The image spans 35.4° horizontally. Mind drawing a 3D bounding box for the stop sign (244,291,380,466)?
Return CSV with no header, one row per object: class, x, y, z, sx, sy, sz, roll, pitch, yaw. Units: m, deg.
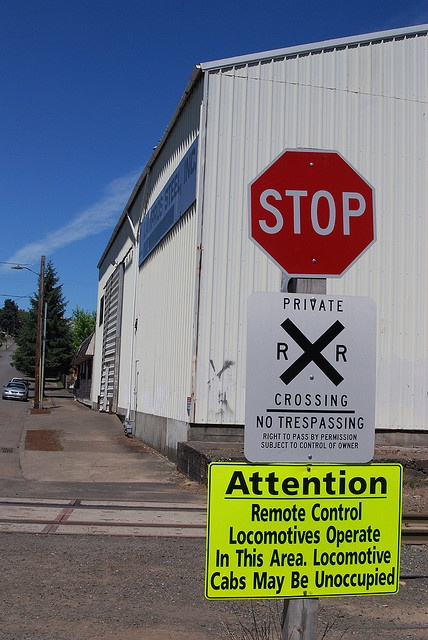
stop sign,0.354,0.231,2.498,0.471,0.737,0.018,-1,-31,11
